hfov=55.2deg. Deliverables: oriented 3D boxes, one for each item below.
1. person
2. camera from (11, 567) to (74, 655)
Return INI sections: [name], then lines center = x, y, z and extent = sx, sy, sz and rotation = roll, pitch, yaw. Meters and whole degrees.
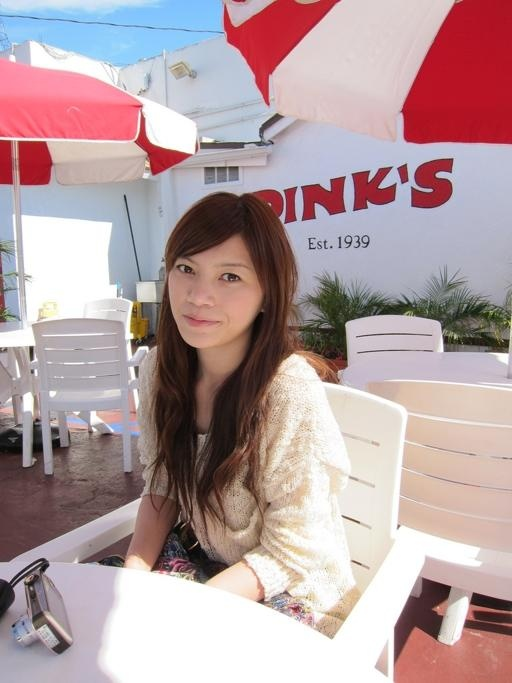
[person]
center = -0.149, 0.129, 1.624
extent = 0.797, 1.393, 0.888
rotation = 1, 1, 35
[camera]
center = -0.266, 0.354, 0.652
extent = 0.039, 0.062, 0.089
rotation = -25, 6, -22
